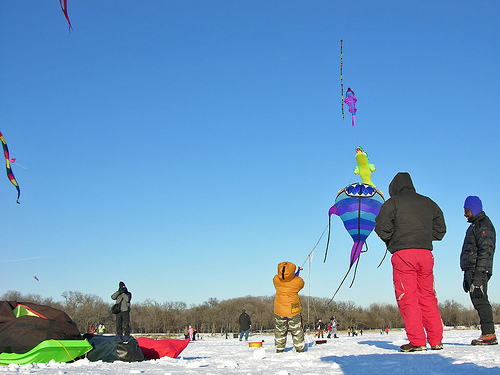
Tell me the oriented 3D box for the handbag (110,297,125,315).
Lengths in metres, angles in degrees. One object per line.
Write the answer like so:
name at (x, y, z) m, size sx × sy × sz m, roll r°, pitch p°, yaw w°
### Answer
handbag at (-3.698, 3.320, 11.705) m, size 0.304 × 0.420 × 0.661 m, roll 7°, pitch -21°, yaw -19°

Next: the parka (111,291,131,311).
parka at (-3.508, 3.188, 11.697) m, size 0.734 × 0.568 × 0.390 m, roll -13°, pitch -23°, yaw 32°

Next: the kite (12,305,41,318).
kite at (-4.744, 2.606, 8.721) m, size 0.314 × 0.130 × 0.257 m, roll 22°, pitch -4°, yaw -8°

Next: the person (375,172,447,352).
person at (2.784, 1.176, 7.133) m, size 1.226 × 3.045 × 0.715 m, roll 9°, pitch -20°, yaw -25°

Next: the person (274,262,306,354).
person at (0.934, 2.889, 10.048) m, size 0.708 × 2.030 × 0.682 m, roll -1°, pitch -19°, yaw 3°

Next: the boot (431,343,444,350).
boot at (3.134, 2.701, 7.017) m, size 0.087 × 0.085 × 0.173 m, roll -5°, pitch -36°, yaw 3°

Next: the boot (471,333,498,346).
boot at (4.554, 2.965, 8.159) m, size 0.437 × 0.217 × 0.397 m, roll -11°, pitch -23°, yaw 28°

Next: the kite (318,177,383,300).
kite at (3.780, 1.650, 15.035) m, size 2.067 × 5.190 × 1.612 m, roll 8°, pitch -37°, yaw 1°

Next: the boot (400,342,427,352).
boot at (2.699, 2.669, 6.938) m, size 0.380 × 0.196 × 0.149 m, roll -3°, pitch -15°, yaw 21°
